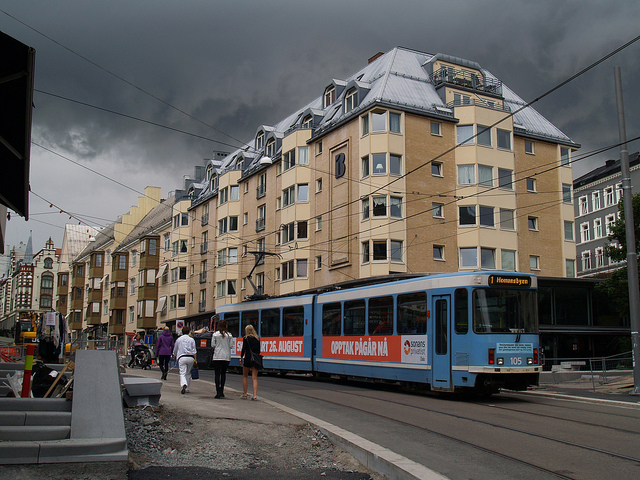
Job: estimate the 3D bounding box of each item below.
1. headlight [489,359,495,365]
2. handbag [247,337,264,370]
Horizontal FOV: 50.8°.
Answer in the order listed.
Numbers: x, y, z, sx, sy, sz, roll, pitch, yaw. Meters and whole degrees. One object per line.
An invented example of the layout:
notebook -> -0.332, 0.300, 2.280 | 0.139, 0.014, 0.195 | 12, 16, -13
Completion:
headlight -> 4.717, 3.356, 18.512 | 0.146, 0.123, 0.049 | -4, -1, 3
handbag -> -1.667, 2.906, 17.235 | 0.332, 0.765, 0.402 | -3, -1, -9
